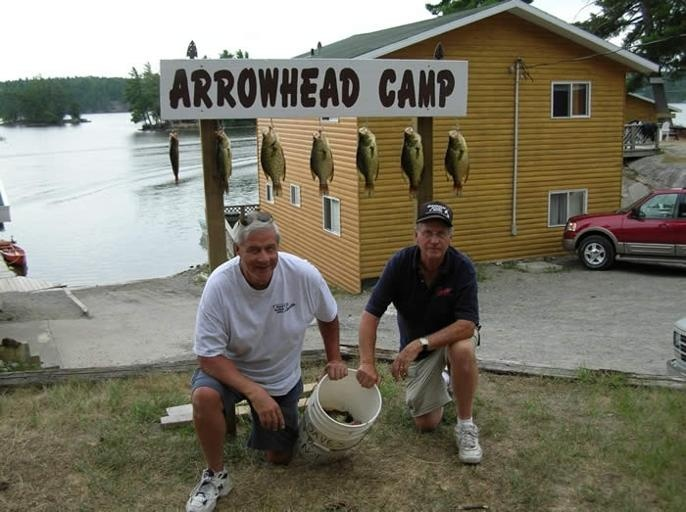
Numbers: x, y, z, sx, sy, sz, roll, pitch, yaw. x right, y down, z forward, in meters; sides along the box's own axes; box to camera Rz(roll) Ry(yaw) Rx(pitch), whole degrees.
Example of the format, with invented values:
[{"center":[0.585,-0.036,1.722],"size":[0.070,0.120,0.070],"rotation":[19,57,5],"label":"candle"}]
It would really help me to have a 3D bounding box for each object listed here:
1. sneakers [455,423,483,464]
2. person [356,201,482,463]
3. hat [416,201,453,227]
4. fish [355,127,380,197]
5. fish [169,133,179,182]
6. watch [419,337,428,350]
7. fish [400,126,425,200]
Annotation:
[{"center":[1.034,1.517,4.589],"size":[0.199,0.300,0.258],"rotation":[-2,10,9],"label":"sneakers"},{"center":[0.673,0.617,4.704],"size":[0.936,2.086,0.759],"rotation":[-2,10,12],"label":"person"},{"center":[0.757,-0.336,4.617],"size":[0.293,0.192,0.271],"rotation":[-3,9,9],"label":"hat"},{"center":[0.283,-1.087,6.322],"size":[0.341,0.902,0.231],"rotation":[-2,1,-2],"label":"fish"},{"center":[-1.720,-1.034,5.750],"size":[0.081,0.432,0.566],"rotation":[-7,10,-17],"label":"fish"},{"center":[0.670,0.720,4.589],"size":[0.061,0.094,0.099],"rotation":[0,-14,1],"label":"watch"},{"center":[0.823,-1.068,6.316],"size":[0.371,0.872,0.217],"rotation":[1,1,43],"label":"fish"}]
